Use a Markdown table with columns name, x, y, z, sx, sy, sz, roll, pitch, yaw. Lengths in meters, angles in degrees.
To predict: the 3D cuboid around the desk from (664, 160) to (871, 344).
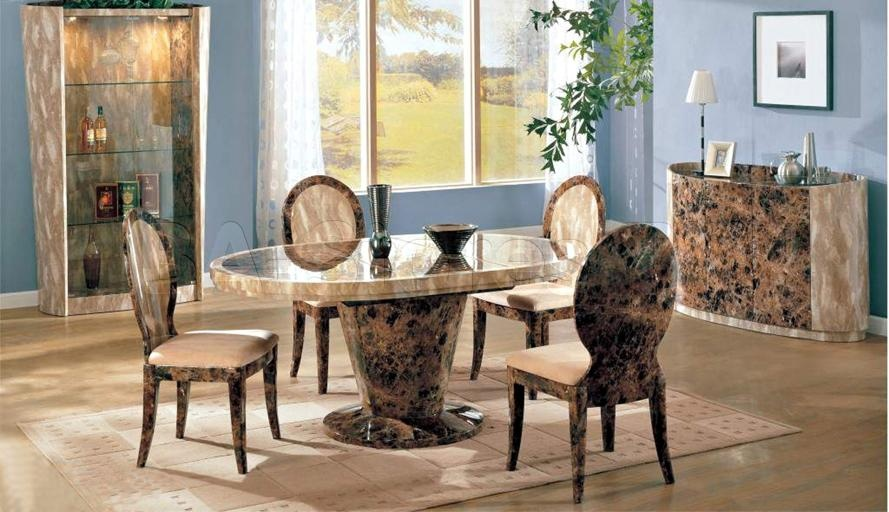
| name | x | y | z | sx | sy | sz | roll | pitch | yaw |
| --- | --- | --- | --- | --- | --- | --- | --- | --- | --- |
| desk | 2.624 | -0.006 | 5.529 | 1.554 | 0.998 | 0.562 | 8 | 15 | 42 |

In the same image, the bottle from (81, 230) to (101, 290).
| name | x | y | z | sx | sy | sz | roll | pitch | yaw |
| --- | --- | --- | --- | --- | --- | --- | --- | --- | --- |
| bottle | -3.153 | 0.035 | 6.213 | 0.054 | 0.535 | 0.150 | 3 | 10 | 34 |

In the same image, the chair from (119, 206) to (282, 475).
| name | x | y | z | sx | sy | sz | roll | pitch | yaw |
| --- | --- | --- | --- | --- | --- | --- | --- | --- | --- |
| chair | -1.370 | 0.439 | 3.882 | 0.757 | 1.428 | 0.489 | -2 | 8 | 7 |

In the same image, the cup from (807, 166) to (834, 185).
| name | x | y | z | sx | sy | sz | roll | pitch | yaw |
| --- | --- | --- | --- | --- | --- | --- | --- | --- | --- |
| cup | 3.046 | -0.650 | 5.650 | 0.226 | 0.129 | 0.113 | -2 | 4 | -13 |

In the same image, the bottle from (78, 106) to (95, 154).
| name | x | y | z | sx | sy | sz | roll | pitch | yaw |
| --- | --- | --- | --- | --- | --- | --- | --- | --- | --- |
| bottle | -3.161 | -1.106 | 6.136 | 0.141 | 0.380 | 0.030 | -6 | 9 | -20 |
